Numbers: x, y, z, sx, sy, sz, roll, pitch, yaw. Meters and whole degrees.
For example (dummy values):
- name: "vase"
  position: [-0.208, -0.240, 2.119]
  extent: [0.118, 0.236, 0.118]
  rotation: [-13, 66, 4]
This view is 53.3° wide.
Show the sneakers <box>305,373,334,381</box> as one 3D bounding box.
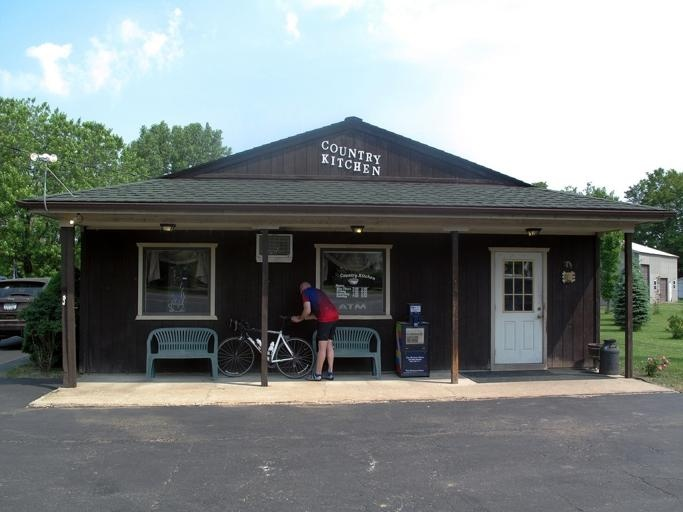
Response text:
- name: "sneakers"
  position: [-0.422, 2.373, 13.560]
  extent: [0.498, 0.214, 0.202]
  rotation: [2, -5, 0]

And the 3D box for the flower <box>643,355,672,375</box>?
- name: "flower"
  position: [6.379, 2.234, 13.942]
  extent: [0.509, 0.393, 0.442]
  rotation: [6, -2, -43]

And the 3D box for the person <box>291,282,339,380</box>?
- name: "person"
  position: [-0.472, 1.511, 13.629]
  extent: [0.850, 1.927, 0.898]
  rotation: [-3, 7, -28]
